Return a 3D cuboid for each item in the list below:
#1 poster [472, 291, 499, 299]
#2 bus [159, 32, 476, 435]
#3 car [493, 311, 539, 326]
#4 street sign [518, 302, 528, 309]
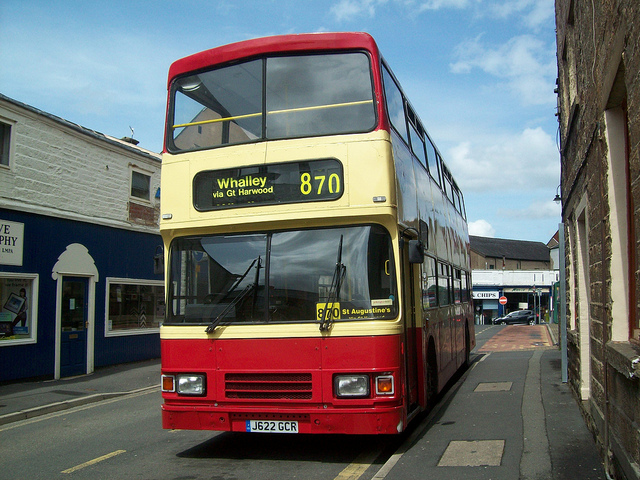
[{"bbox_3d":[21.403,7.093,70.499,4.285,1.221,0.619,-1,-16,3],"label":"poster"},{"bbox_3d":[1.371,0.563,13.120,3.494,6.251,11.763,-4,-8,20],"label":"bus"},{"bbox_3d":[22.379,8.867,61.992,3.638,1.548,1.945,2,-4,8],"label":"car"},{"bbox_3d":[27.265,8.764,73.321,0.962,0.689,0.567,-1,-8,6],"label":"street sign"}]
